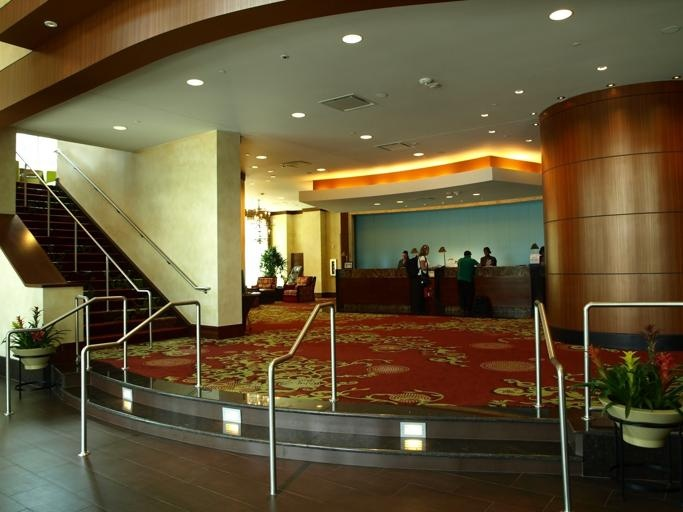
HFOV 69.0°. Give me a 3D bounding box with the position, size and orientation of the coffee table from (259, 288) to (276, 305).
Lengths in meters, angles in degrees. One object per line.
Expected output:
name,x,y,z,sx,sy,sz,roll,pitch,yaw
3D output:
coffee table,-2.607,1.447,17.886,0.519,0.509,0.909,3,2,31

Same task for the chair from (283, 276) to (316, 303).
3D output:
chair,-1.614,1.223,18.393,1.026,0.844,1.121,-1,-2,34

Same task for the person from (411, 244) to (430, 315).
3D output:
person,2.000,0.716,12.334,0.365,1.476,0.407,-14,16,-18

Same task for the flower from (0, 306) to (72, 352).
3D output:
flower,-4.264,1.055,6.954,0.929,0.480,0.807,1,-3,-19

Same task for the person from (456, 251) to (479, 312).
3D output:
person,2.966,0.628,11.687,0.509,1.521,0.383,-13,15,-15

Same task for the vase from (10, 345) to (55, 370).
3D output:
vase,-4.108,1.350,6.548,0.493,0.174,0.390,0,-8,-3

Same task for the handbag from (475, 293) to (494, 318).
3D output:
handbag,3.291,1.163,11.468,0.403,0.468,0.219,-4,15,12

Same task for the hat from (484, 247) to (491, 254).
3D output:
hat,4.021,-0.163,13.723,0.199,0.206,0.161,-7,-20,39

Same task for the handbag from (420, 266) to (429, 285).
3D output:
handbag,2.044,0.510,12.249,0.191,0.445,0.261,-9,14,-3

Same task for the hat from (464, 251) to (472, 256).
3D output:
hat,3.234,-0.079,12.731,0.218,0.153,0.205,3,1,26

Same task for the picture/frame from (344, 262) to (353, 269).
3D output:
picture/frame,0.198,0.301,15.331,0.323,0.233,0.161,-6,-18,27
